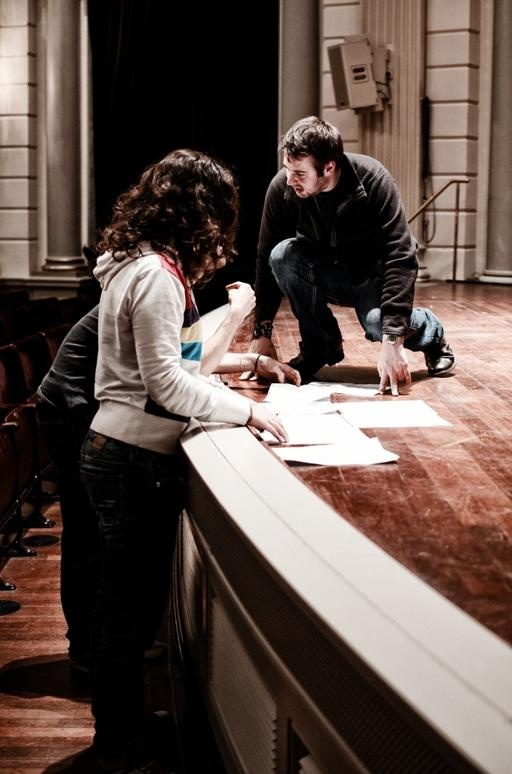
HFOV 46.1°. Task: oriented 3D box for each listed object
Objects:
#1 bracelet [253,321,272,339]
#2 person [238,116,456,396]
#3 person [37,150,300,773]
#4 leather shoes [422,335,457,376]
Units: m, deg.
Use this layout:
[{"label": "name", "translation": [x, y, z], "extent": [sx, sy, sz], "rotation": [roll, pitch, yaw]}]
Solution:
[{"label": "bracelet", "translation": [0.025, -0.219, 2.306], "extent": [0.054, 0.063, 0.069], "rotation": [-2, 1, -44]}, {"label": "person", "translation": [0.218, -0.349, 2.427], "extent": [0.777, 1.145, 0.966], "rotation": [0, -2, 42]}, {"label": "person", "translation": [-0.199, 0.185, 1.338], "extent": [0.330, 1.366, 0.286], "rotation": [-2, 9, -44]}, {"label": "leather shoes", "translation": [0.674, -0.112, 2.201], "extent": [0.063, 0.079, 0.179], "rotation": [-25, 7, 24]}]
